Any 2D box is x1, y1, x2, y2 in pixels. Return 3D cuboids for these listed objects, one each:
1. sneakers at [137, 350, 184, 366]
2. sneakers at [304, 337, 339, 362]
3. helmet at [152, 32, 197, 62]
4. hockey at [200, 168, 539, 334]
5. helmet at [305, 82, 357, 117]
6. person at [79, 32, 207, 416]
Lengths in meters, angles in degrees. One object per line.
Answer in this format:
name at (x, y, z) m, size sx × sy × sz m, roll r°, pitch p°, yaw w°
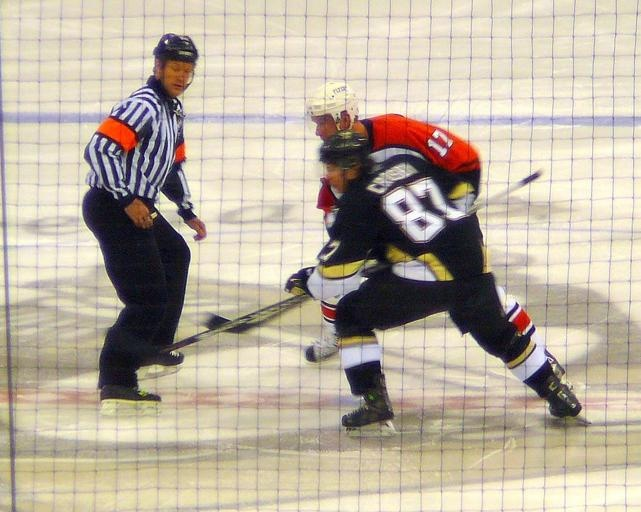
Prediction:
sneakers at (-1.101, 0.703, 8.521) m, size 0.295 × 0.074 × 0.084 m, roll -5°, pitch 19°, yaw -5°
sneakers at (-0.008, 0.642, 8.537) m, size 0.182 × 0.080 × 0.244 m, roll -12°, pitch 7°, yaw 45°
helmet at (-0.931, -1.352, 8.099) m, size 0.213 × 0.143 × 0.260 m, roll 5°, pitch -2°, yaw -36°
hockey at (0.285, -0.010, 8.630) m, size 2.935 × 0.164 × 0.559 m, roll -17°, pitch 22°, yaw 12°
helmet at (0.068, -1.030, 8.397) m, size 0.359 × 0.201 × 0.267 m, roll 1°, pitch -6°, yaw -25°
person at (-1.185, -0.240, 8.210) m, size 0.401 × 2.417 × 0.771 m, roll 8°, pitch 6°, yaw 39°
